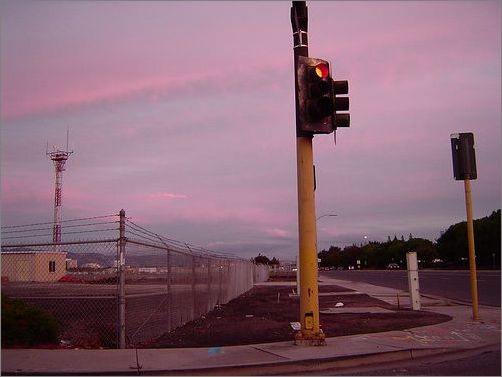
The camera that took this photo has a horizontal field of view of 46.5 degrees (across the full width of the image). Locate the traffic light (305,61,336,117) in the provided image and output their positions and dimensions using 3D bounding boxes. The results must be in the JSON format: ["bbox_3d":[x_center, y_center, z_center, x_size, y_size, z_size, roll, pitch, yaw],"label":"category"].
[{"bbox_3d":[1.591,-2.384,13.766,0.638,1.543,0.490,-2,-10,6],"label":"traffic light"}]
